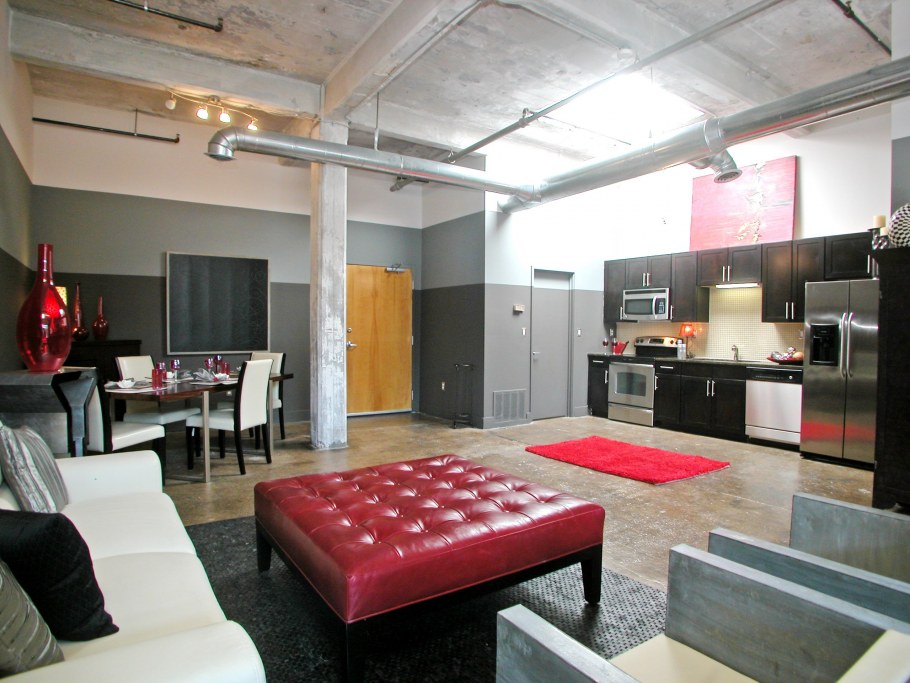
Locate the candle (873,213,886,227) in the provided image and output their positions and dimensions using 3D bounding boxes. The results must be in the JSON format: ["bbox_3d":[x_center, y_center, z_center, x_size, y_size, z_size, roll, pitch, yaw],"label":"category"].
[{"bbox_3d":[3.568,-1.009,5.281,0.074,0.113,0.530,8,12,31],"label":"candle"}]

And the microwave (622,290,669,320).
[{"bbox_3d":[2.549,-0.499,8.425,0.162,0.481,0.800,-5,12,-30],"label":"microwave"}]

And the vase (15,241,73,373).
[{"bbox_3d":[-2.638,-0.198,4.023,0.294,0.827,0.346,-6,13,-34],"label":"vase"}]

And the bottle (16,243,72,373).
[{"bbox_3d":[-2.640,-0.199,4.027,0.294,0.827,0.365,-7,13,-35],"label":"bottle"}]

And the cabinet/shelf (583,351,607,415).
[{"bbox_3d":[1.969,0.606,8.705,0.128,0.857,0.482,-4,12,-25],"label":"cabinet/shelf"}]

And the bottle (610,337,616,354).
[{"bbox_3d":[2.305,0.060,9.046,0.142,0.157,0.292,4,11,13],"label":"bottle"}]

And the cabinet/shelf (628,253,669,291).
[{"bbox_3d":[2.596,-0.917,8.401,0.236,0.468,0.557,4,-3,-28],"label":"cabinet/shelf"}]

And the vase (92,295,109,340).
[{"bbox_3d":[-3.840,-0.254,6.787,0.149,0.427,0.340,-5,13,-30],"label":"vase"}]

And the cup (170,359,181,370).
[{"bbox_3d":[-2.858,0.237,6.436,0.102,0.167,0.101,3,9,0],"label":"cup"}]

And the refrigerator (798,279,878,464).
[{"bbox_3d":[3.750,0.283,6.147,0.281,1.793,0.917,-5,13,-30],"label":"refrigerator"}]

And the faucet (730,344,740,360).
[{"bbox_3d":[3.453,0.129,7.742,0.073,0.178,0.164,2,11,3],"label":"faucet"}]
